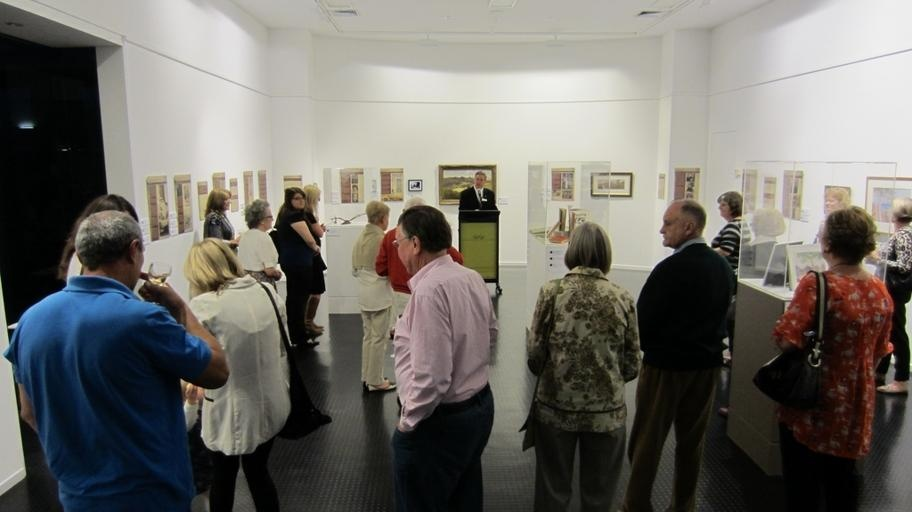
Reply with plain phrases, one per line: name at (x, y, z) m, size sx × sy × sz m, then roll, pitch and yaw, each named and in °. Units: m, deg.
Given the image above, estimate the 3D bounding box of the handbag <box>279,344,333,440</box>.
handbag at (-1.519, 1.347, 6.100) m, size 0.426 × 0.993 × 0.294 m, roll -1°, pitch 8°, yaw -14°

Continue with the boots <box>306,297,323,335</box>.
boots at (-2.345, 0.967, 10.259) m, size 0.347 × 0.637 × 0.305 m, roll 9°, pitch 9°, yaw -6°

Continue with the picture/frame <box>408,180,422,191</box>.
picture/frame at (-0.957, -1.630, 14.182) m, size 0.246 × 0.223 × 0.028 m, roll 0°, pitch 2°, yaw -10°

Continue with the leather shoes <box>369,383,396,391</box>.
leather shoes at (-0.985, 1.802, 8.413) m, size 0.389 × 0.115 × 0.162 m, roll -3°, pitch 2°, yaw -2°

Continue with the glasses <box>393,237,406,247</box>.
glasses at (-0.564, -0.143, 6.145) m, size 0.115 × 0.039 × 0.116 m, roll 2°, pitch 6°, yaw 6°

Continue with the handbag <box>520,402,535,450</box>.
handbag at (0.729, 1.739, 6.177) m, size 0.125 × 0.622 × 0.405 m, roll 2°, pitch 8°, yaw 6°

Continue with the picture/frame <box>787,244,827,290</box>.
picture/frame at (3.640, 0.101, 6.405) m, size 0.431 × 0.468 × 0.044 m, roll -3°, pitch -5°, yaw -4°

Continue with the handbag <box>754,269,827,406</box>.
handbag at (3.093, 0.768, 5.669) m, size 0.547 × 1.227 × 0.219 m, roll 1°, pitch 7°, yaw 3°
